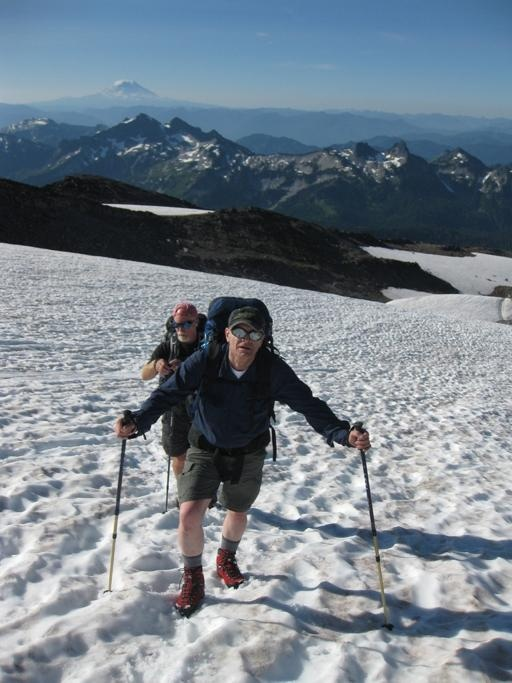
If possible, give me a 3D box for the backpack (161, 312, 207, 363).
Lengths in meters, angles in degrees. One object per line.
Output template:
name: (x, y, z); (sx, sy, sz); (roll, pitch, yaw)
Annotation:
backpack: (-0.871, -0.017, 6.864); (0.462, 0.543, 0.622); (4, 1, 5)
